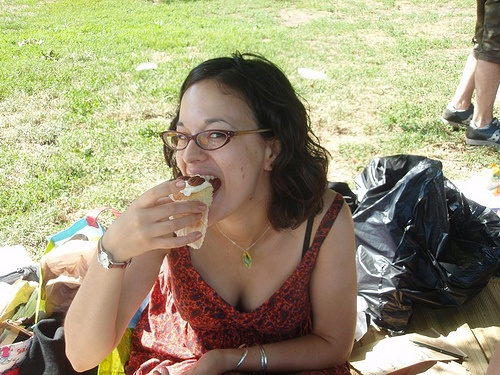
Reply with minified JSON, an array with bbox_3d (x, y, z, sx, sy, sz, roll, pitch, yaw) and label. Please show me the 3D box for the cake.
[{"bbox_3d":[-0.313,0.142,2.484,0.279,0.385,0.117,7,0,26],"label":"cake"}]
